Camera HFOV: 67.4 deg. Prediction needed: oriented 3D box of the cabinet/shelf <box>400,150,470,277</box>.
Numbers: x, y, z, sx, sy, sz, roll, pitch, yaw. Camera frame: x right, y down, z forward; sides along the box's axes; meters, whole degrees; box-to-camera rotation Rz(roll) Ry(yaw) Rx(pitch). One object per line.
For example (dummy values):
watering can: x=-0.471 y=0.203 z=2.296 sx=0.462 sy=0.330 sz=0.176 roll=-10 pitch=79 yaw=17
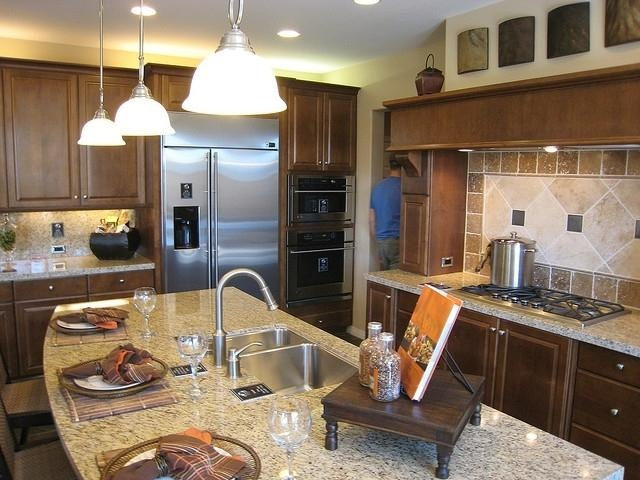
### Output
cabinet/shelf: x=0.921 y=-0.226 z=3.848 sx=0.522 sy=0.980 sz=0.362 roll=2 pitch=14 yaw=8

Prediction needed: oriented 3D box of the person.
person: x=0.630 y=-0.249 z=4.722 sx=0.286 sy=1.081 sz=0.527 roll=2 pitch=14 yaw=5

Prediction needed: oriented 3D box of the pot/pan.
pot/pan: x=1.316 y=0.127 z=3.447 sx=0.431 sy=0.348 sz=0.429 roll=1 pitch=5 yaw=22

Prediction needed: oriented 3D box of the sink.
sink: x=-0.190 y=0.584 z=2.403 sx=0.464 sy=0.108 sz=0.436 roll=-7 pitch=14 yaw=-43
